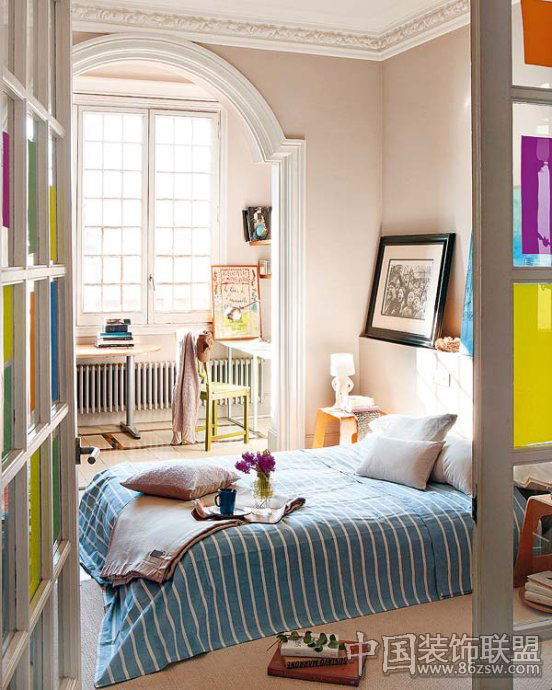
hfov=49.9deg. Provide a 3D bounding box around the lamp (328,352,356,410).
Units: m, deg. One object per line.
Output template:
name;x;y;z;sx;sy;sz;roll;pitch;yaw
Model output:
lamp;0.537;0.299;4.944;0.190;0.456;0.553;2;4;5

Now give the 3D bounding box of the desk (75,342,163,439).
desk;-1.691;0.476;6.396;0.848;0.937;1.003;0;4;-17

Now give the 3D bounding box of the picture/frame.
picture/frame;1.063;-0.468;4.841;0.064;0.910;0.898;6;5;-30

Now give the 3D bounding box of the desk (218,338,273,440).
desk;-0.458;0.511;6.777;0.655;0.936;0.482;11;4;-32

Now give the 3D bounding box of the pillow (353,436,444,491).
pillow;0.690;0.673;3.400;0.171;0.294;0.456;31;-21;-38

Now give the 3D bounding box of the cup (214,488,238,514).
cup;-0.236;0.733;2.789;0.076;0.122;0.120;0;-2;-8

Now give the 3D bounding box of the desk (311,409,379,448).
desk;0.571;0.656;4.870;0.397;0.400;0.404;-2;3;-27

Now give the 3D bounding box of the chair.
chair;-0.617;0.503;6.243;0.628;1.426;0.892;-3;7;-20

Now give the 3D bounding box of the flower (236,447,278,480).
flower;-0.080;0.568;2.890;0.190;0.206;0.171;-1;-3;-36

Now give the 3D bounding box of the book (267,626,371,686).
book;0.163;1.172;2.277;0.343;0.119;0.246;3;4;15
